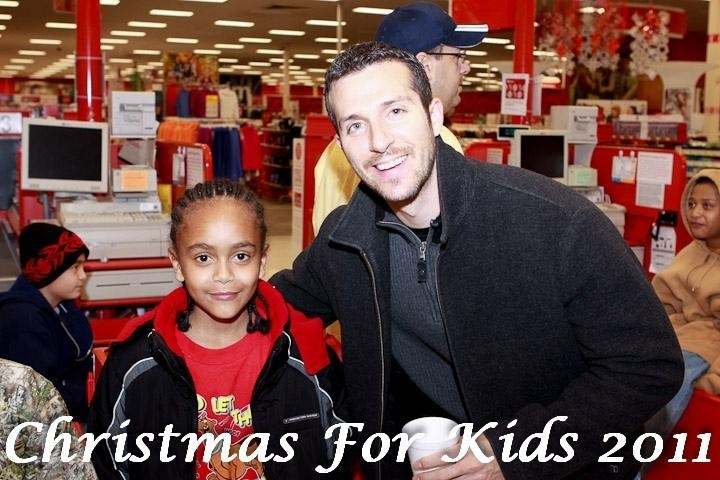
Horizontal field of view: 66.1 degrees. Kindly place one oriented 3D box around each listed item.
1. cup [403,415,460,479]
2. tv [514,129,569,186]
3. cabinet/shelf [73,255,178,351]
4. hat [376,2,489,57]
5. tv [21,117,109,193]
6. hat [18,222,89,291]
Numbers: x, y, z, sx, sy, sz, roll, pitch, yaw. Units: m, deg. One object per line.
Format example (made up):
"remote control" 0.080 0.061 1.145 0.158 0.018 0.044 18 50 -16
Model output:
"cup" 0.222 0.644 1.717 0.153 0.121 0.153 -19 -33 -13
"tv" 1.915 -0.890 5.989 0.626 0.601 0.362 -1 3 -8
"cabinet/shelf" -1.546 0.369 3.552 0.743 0.704 0.422 -3 7 -25
"hat" 0.334 -0.980 2.600 0.493 0.191 0.334 -2 19 -4
"tv" -2.635 -0.737 4.886 0.663 0.592 0.067 1 -8 -10
"hat" -2.007 0.103 3.607 0.440 0.420 0.364 -2 11 -29
